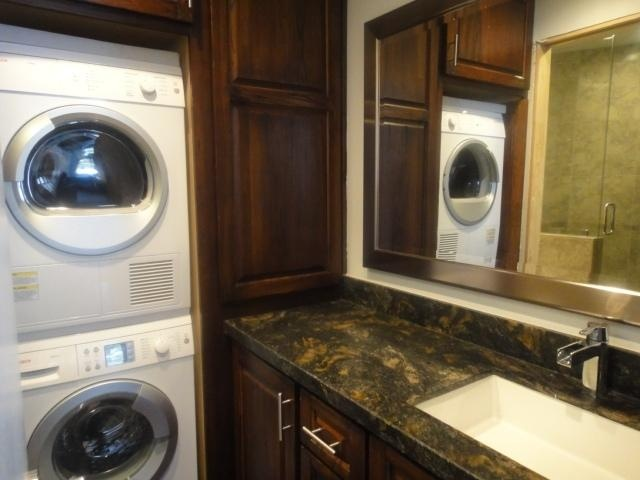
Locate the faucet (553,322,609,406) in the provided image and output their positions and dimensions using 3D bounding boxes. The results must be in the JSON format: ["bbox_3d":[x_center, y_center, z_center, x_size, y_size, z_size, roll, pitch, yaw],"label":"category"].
[{"bbox_3d":[0.904,0.430,1.696,0.157,0.263,0.080,-15,21,-20],"label":"faucet"}]
